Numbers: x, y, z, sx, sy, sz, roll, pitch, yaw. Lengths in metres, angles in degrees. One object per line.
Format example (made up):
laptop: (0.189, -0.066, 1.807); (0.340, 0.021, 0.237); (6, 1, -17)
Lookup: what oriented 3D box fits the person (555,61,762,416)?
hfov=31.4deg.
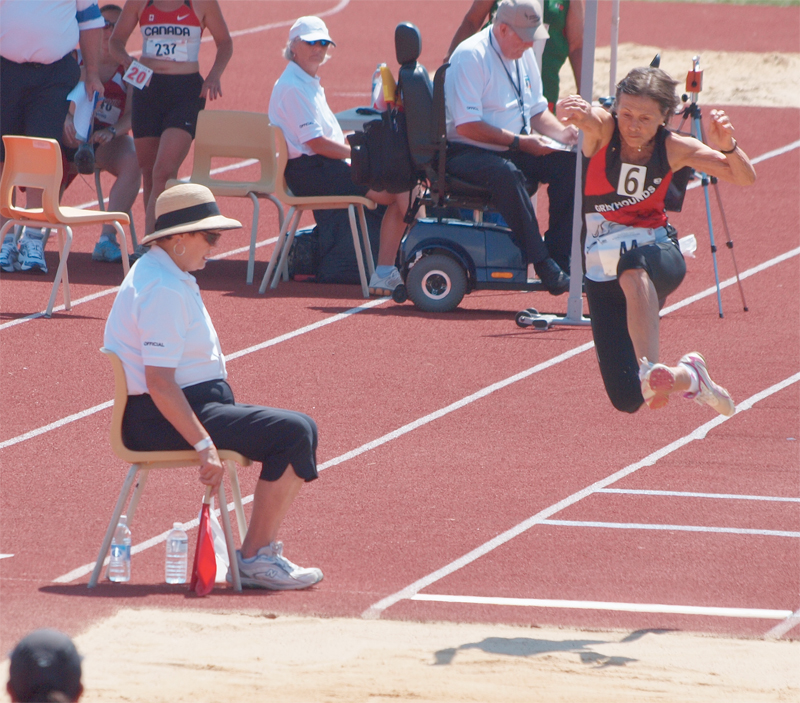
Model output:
person: (1.095, -0.455, 6.292); (0.788, 1.560, 0.647); (5, 7, 19)

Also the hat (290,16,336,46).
hat: (-0.690, -2.439, 10.713); (0.276, 0.170, 0.347); (0, 5, -23)

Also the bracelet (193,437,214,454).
bracelet: (-0.822, 0.394, 5.957); (0.065, 0.041, 0.065); (11, 14, 40)

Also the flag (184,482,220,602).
flag: (-0.870, 0.863, 6.275); (0.127, 0.702, 0.149); (16, 38, 11)

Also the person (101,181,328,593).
person: (-0.809, 0.163, 6.159); (0.929, 1.742, 0.477); (1, 7, -10)

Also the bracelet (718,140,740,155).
bracelet: (1.443, -0.896, 6.313); (0.102, 0.034, 0.099); (-8, 10, 20)

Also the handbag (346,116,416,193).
handbag: (-0.125, -1.401, 10.205); (0.620, 0.554, 0.435); (-4, 2, 2)

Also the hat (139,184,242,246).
hat: (-0.911, -0.567, 6.172); (0.333, 0.154, 0.308); (-6, 9, 24)

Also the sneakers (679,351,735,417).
sneakers: (1.580, 0.190, 7.362); (0.136, 0.397, 0.172); (-17, 28, 49)

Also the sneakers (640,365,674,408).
sneakers: (1.113, 0.150, 6.127); (0.090, 0.179, 0.142); (-14, 19, -42)

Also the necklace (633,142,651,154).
necklace: (1.055, -0.885, 6.241); (0.073, 0.052, 0.053); (-15, 40, -8)

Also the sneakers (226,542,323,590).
sneakers: (-0.550, 0.940, 6.235); (0.472, 0.198, 0.155); (2, 5, 2)
